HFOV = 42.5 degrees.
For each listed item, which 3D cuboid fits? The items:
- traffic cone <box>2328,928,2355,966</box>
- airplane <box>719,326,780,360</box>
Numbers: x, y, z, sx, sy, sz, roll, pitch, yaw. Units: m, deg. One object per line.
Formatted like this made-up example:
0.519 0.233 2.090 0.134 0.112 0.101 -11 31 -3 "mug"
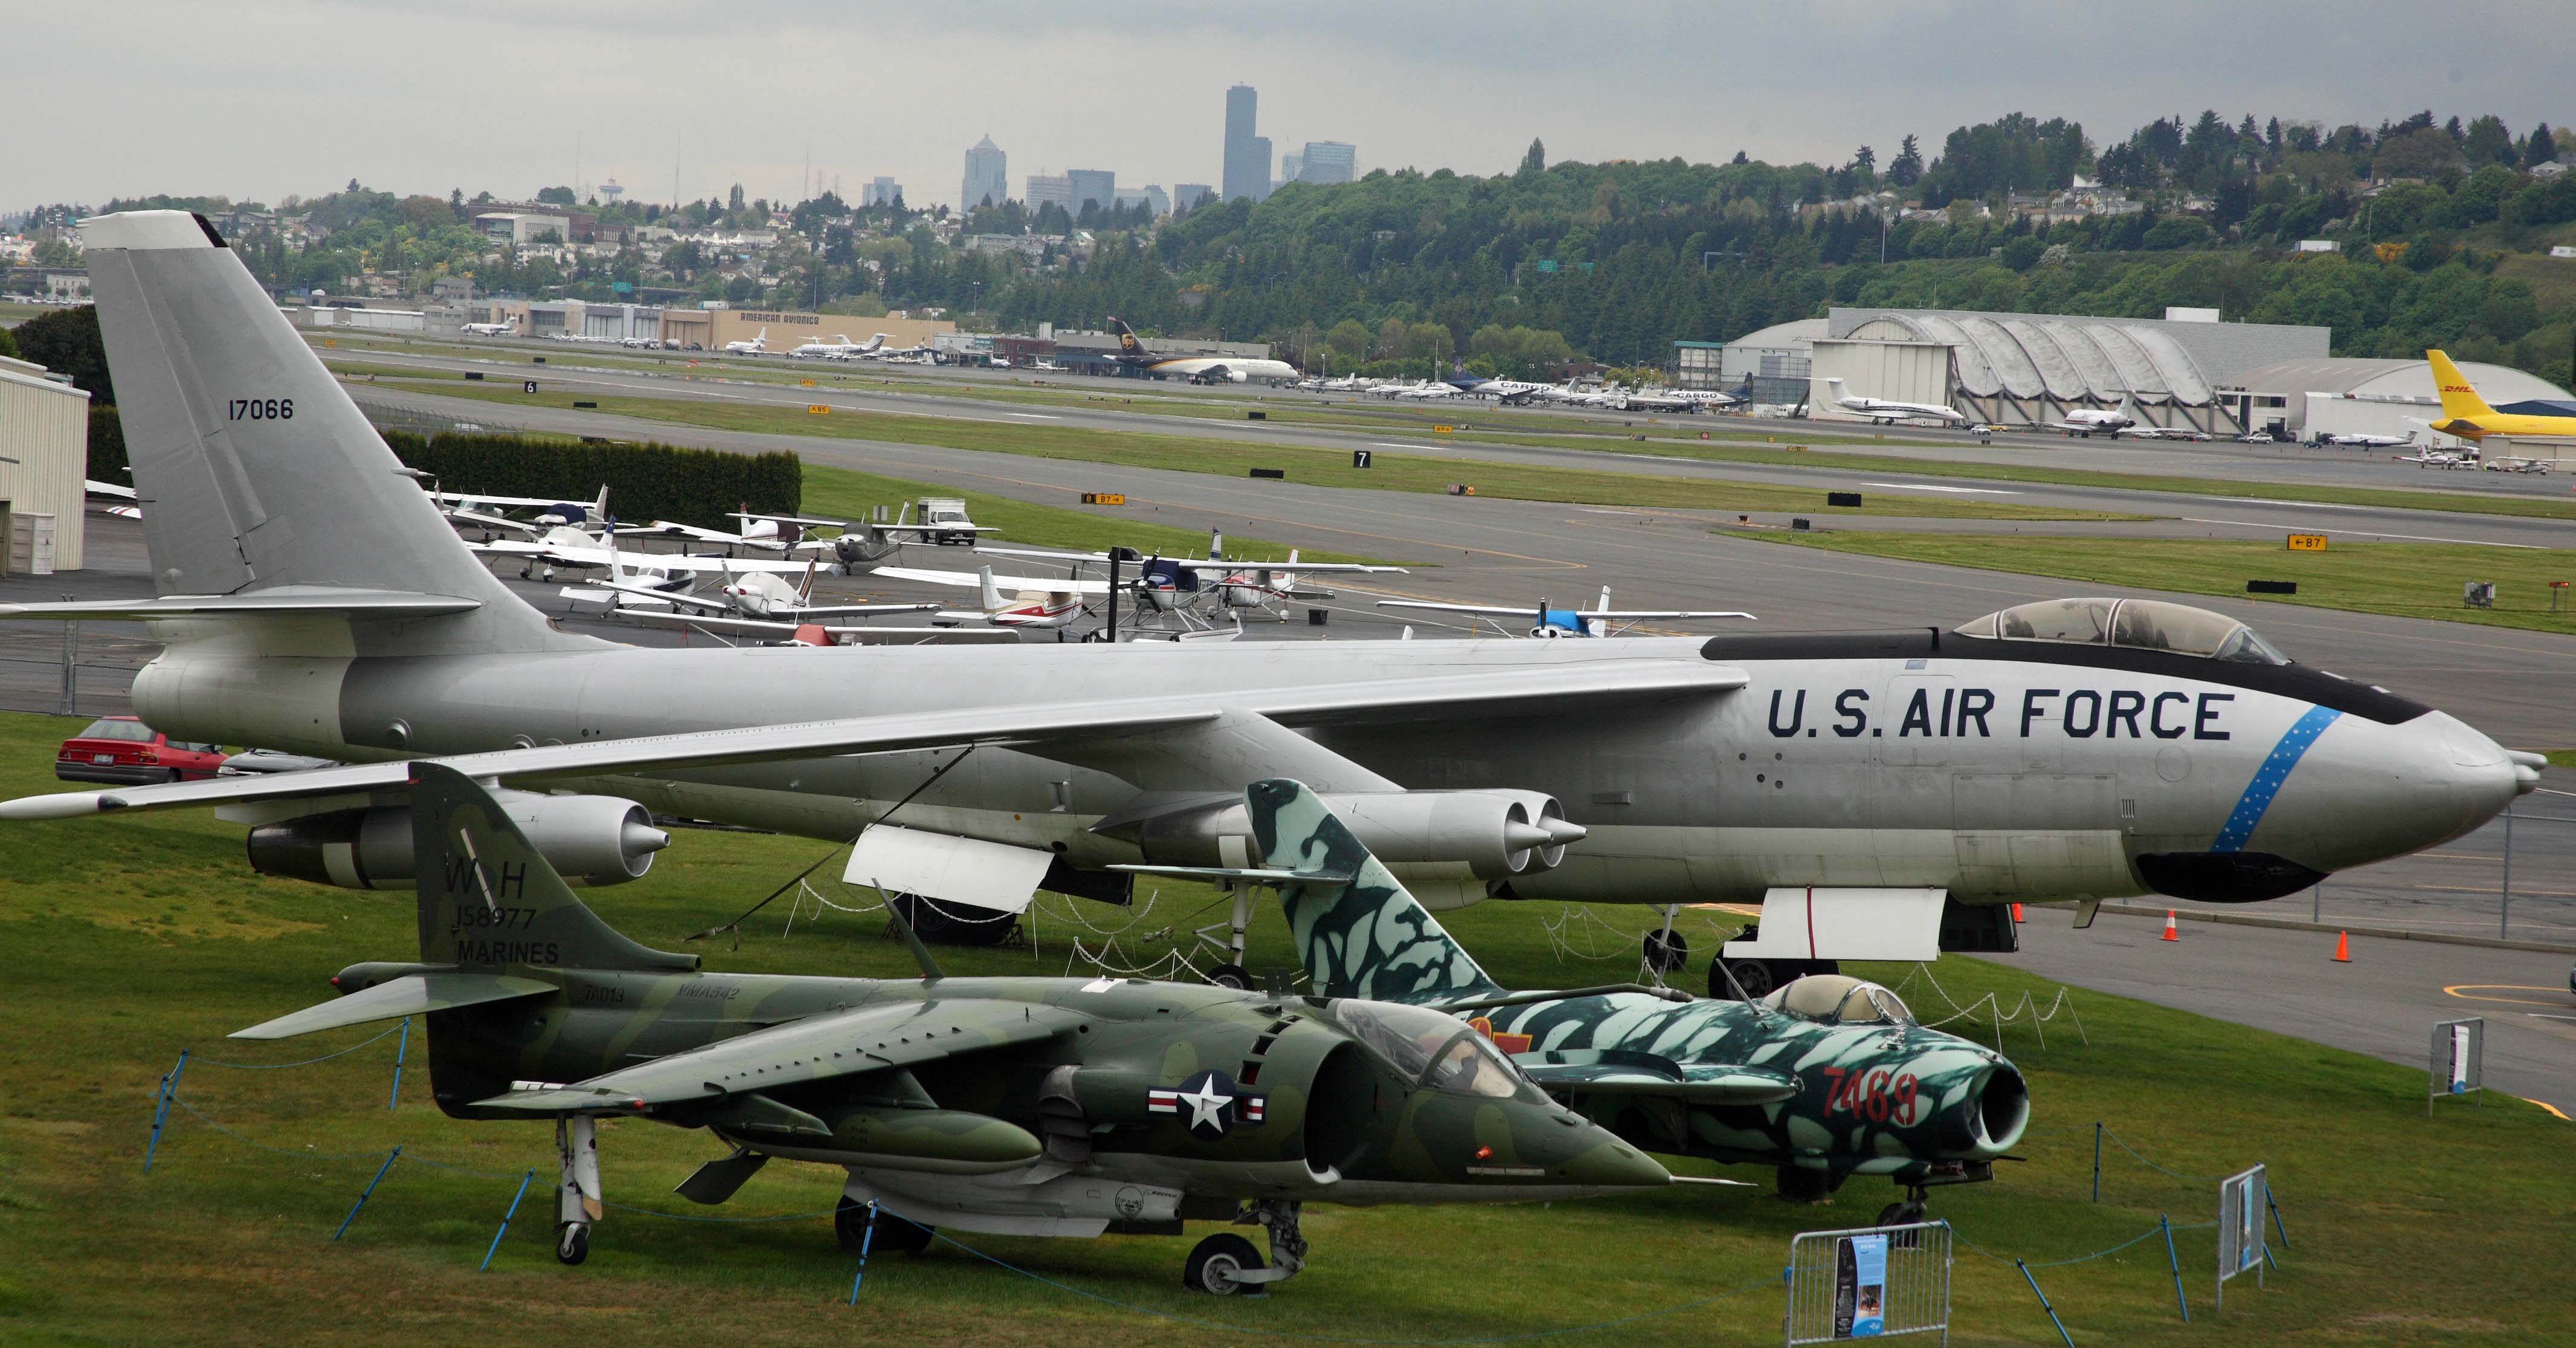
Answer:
26.499 7.014 83.966 0.925 0.698 0.744 -1 0 9 "traffic cone"
-60.589 -36.654 371.681 8.732 2.943 8.330 -6 5 -18 "airplane"
